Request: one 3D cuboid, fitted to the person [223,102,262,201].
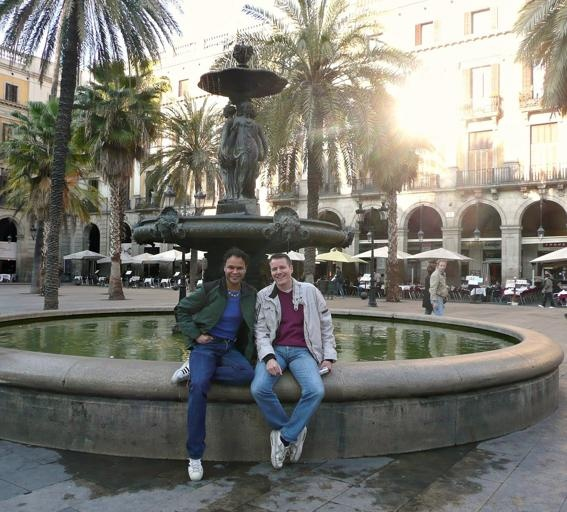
[{"bbox_3d":[-0.596,-1.558,8.606,0.687,1.474,0.508,2,4,-5],"label":"person"}]

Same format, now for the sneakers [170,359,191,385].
[{"bbox_3d":[-0.853,0.957,4.847,0.144,0.191,0.323,1,5,-13],"label":"sneakers"}]

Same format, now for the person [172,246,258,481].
[{"bbox_3d":[-0.583,0.808,4.857,0.590,1.700,0.859,5,5,37],"label":"person"}]

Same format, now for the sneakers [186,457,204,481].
[{"bbox_3d":[-0.670,1.622,4.486,0.128,0.160,0.206,1,5,-9],"label":"sneakers"}]

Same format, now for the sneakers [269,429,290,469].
[{"bbox_3d":[-0.030,1.558,4.727,0.160,0.314,0.235,2,4,-1],"label":"sneakers"}]

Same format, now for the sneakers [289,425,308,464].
[{"bbox_3d":[0.101,1.559,4.768,0.131,0.362,0.116,17,22,22],"label":"sneakers"}]

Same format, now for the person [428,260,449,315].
[{"bbox_3d":[3.338,0.730,12.685,0.385,1.300,1.318,3,5,15],"label":"person"}]
